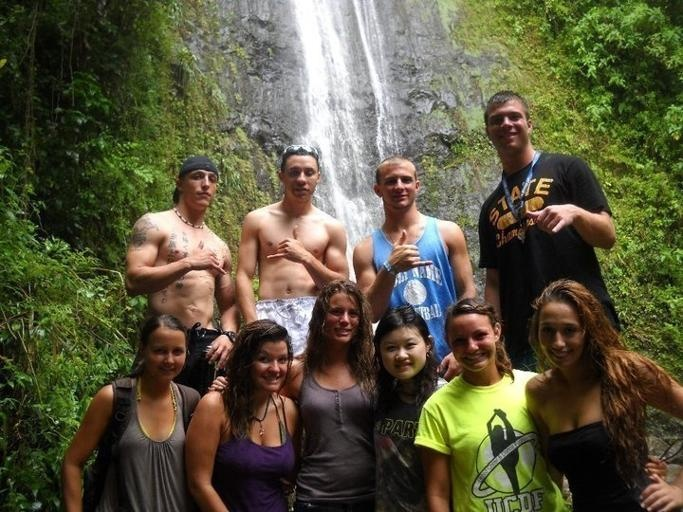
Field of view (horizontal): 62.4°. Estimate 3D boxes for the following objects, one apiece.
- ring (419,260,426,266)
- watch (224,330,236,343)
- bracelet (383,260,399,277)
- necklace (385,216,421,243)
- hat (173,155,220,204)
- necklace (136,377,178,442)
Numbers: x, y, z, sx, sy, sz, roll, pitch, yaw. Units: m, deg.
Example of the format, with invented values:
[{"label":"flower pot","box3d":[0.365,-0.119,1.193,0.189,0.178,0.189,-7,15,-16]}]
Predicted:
[{"label":"ring","box3d":[0.569,0.053,3.922,0.054,0.037,0.112,-4,5,16]},{"label":"watch","box3d":[-0.826,0.587,4.102,0.080,0.050,0.094,41,-10,-33]},{"label":"bracelet","box3d":[0.334,0.085,3.905,0.082,0.035,0.092,17,24,-52]},{"label":"necklace","box3d":[0.458,-0.216,4.206,0.195,0.212,0.082,-6,4,5]},{"label":"hat","box3d":[-1.196,-0.629,4.591,0.299,0.328,0.406,1,3,-23]},{"label":"necklace","box3d":[-1.145,0.942,3.426,0.249,0.386,0.202,11,-30,-40]}]
